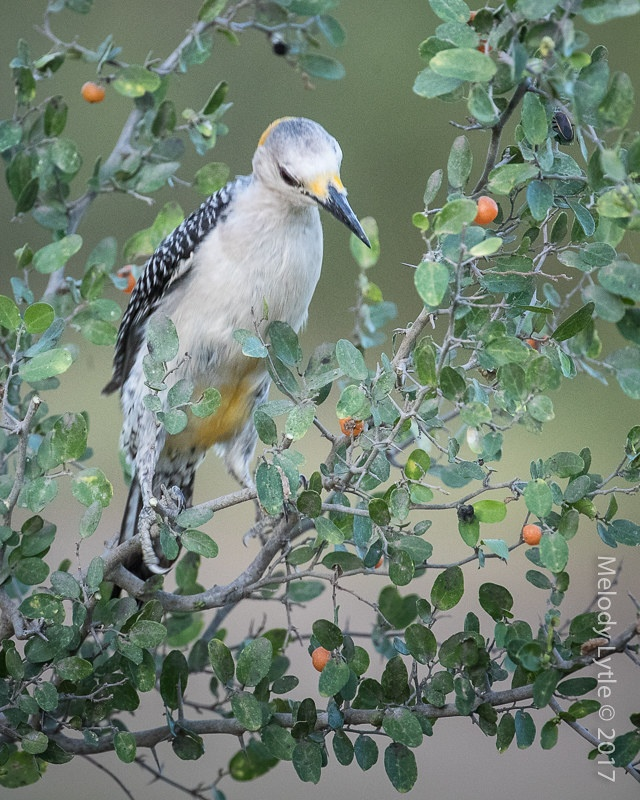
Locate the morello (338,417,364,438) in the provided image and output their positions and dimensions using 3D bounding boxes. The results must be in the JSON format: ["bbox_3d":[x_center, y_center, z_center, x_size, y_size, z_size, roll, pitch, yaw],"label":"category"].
[{"bbox_3d":[0.058,0.050,1.849,0.031,0.046,0.028,28,-62,42],"label":"morello"}]
